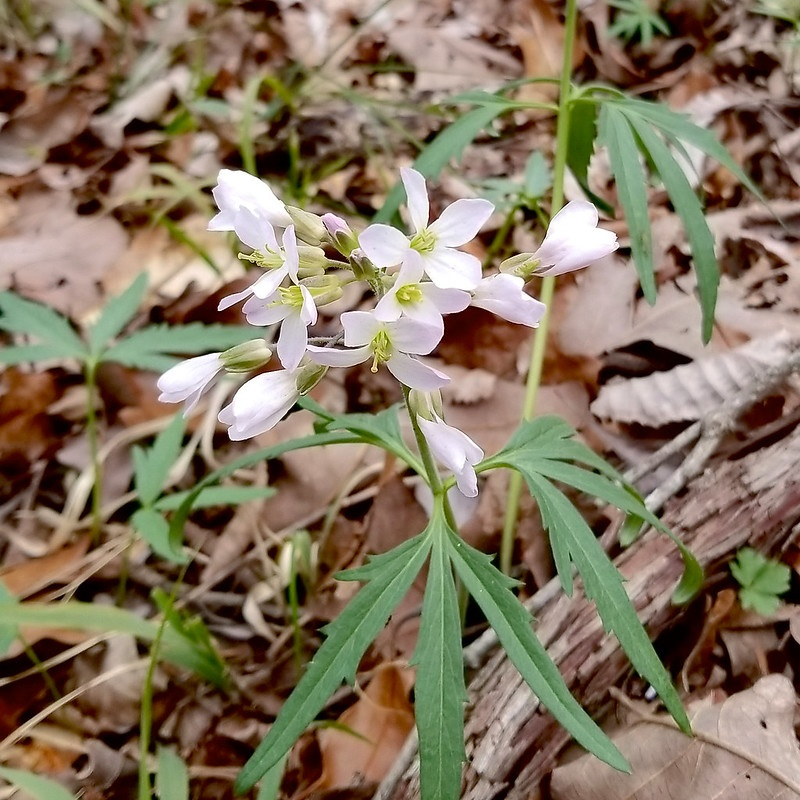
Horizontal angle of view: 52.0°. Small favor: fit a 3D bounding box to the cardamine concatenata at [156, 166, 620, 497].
[{"bbox_3d":[-0.024,-0.300,2.310,1.223,0.440,1.071,-9,33,-1],"label":"cardamine concatenata"}]
